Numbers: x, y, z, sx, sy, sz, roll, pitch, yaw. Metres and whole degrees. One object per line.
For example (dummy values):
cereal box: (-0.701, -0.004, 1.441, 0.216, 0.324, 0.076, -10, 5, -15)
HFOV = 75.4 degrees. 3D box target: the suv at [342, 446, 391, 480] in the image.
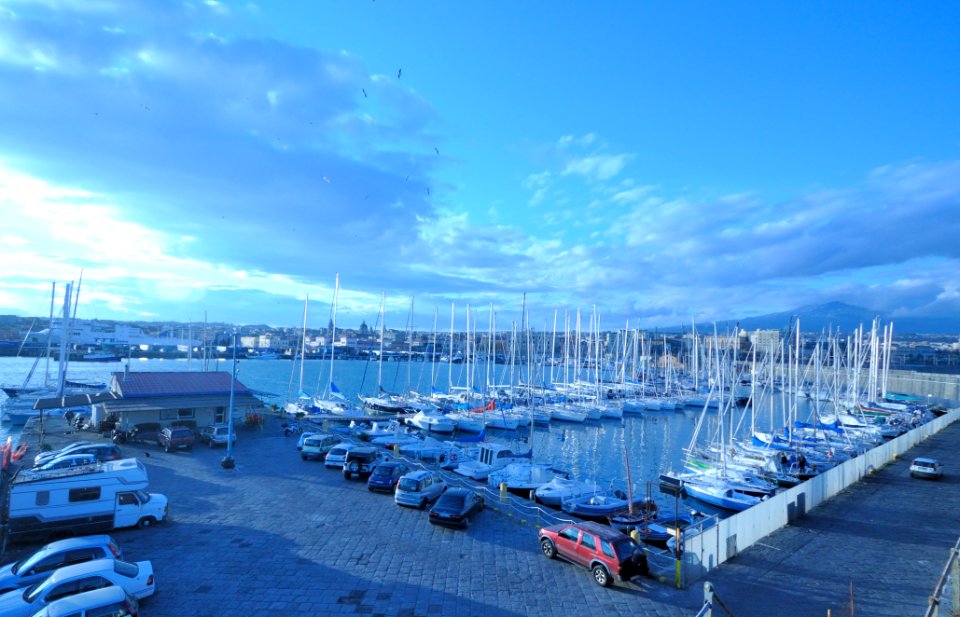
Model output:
suv: (-7.821, 10.513, 42.729, 1.792, 1.437, 3.008, 0, 2, 14)

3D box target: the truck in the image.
truck: (-21.778, 10.713, 34.503, 7.019, 3.364, 3.718, 1, 0, -32)

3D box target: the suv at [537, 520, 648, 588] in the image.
suv: (5.906, 12.786, 33.412, 2.830, 2.253, 5.817, -6, 9, -41)
